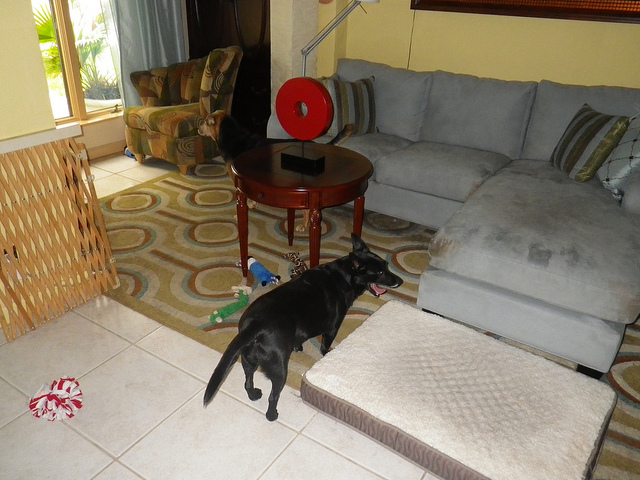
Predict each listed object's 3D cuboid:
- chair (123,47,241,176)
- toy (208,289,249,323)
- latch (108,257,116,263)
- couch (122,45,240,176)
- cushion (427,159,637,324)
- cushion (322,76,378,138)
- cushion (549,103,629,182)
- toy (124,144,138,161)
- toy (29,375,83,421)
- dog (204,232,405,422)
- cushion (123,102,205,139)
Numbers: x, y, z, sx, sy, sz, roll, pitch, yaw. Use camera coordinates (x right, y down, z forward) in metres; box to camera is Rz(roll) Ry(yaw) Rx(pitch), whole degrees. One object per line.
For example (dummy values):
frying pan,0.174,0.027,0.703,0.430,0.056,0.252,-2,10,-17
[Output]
chair,-1.421,-1.341,5.052,1.169,1.156,1.205,-4,21,-13
toy,-0.550,0.405,2.996,0.204,0.038,0.132,-30,62,-33
latch,-1.356,0.125,3.190,0.046,0.022,0.062,-4,-9,-25
couch,-1.361,-1.353,5.097,1.126,1.150,1.093,15,24,34
cushion,1.365,-0.033,3.016,1.111,0.300,0.979,19,38,21
cushion,0.286,-1.169,4.229,0.526,0.523,0.186,-7,11,-15
cushion,1.905,-0.687,3.573,0.172,0.577,0.597,8,22,11
toy,-2.072,-0.961,5.277,0.259,0.119,0.088,23,37,35
toy,-1.308,0.808,2.443,0.193,0.061,0.190,28,37,30
dog,-0.101,0.453,2.574,0.385,0.562,1.244,31,44,34
cushion,-1.510,-1.216,4.847,0.789,0.236,0.420,21,39,23
